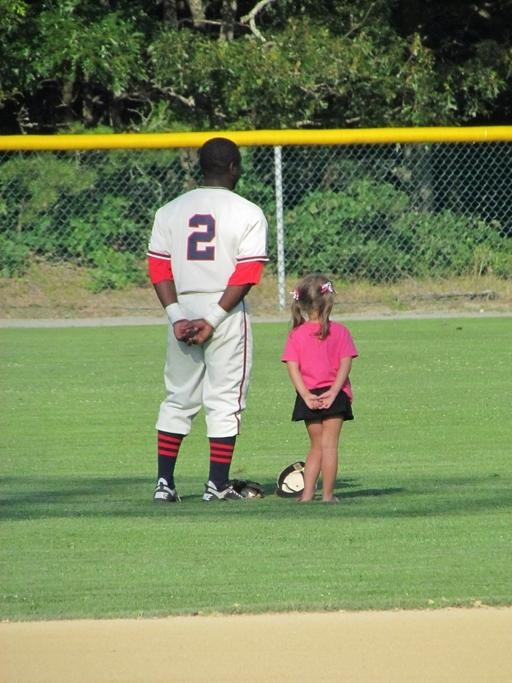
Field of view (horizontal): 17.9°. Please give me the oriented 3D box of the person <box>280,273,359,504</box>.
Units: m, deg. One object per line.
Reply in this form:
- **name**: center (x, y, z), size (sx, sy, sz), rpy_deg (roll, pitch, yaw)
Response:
- **person**: center (0.303, 0.253, 7.499), size (0.334, 1.049, 0.600), rpy_deg (0, 16, -19)

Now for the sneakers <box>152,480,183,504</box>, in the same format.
- **sneakers**: center (-0.410, 0.695, 7.432), size (0.062, 0.073, 0.157), rpy_deg (1, 0, 15)

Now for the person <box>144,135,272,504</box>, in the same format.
- **person**: center (-0.254, 0.009, 7.488), size (0.539, 1.374, 0.545), rpy_deg (4, 15, -5)

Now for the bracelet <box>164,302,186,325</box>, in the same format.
- **bracelet**: center (-0.369, -0.132, 7.471), size (0.074, 0.059, 0.099), rpy_deg (-9, 59, -32)

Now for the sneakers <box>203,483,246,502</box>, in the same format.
- **sneakers**: center (-0.159, 0.700, 7.510), size (0.217, 0.098, 0.076), rpy_deg (1, -3, -9)

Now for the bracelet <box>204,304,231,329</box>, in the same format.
- **bracelet**: center (-0.177, -0.112, 7.410), size (0.087, 0.091, 0.110), rpy_deg (43, 0, 8)
